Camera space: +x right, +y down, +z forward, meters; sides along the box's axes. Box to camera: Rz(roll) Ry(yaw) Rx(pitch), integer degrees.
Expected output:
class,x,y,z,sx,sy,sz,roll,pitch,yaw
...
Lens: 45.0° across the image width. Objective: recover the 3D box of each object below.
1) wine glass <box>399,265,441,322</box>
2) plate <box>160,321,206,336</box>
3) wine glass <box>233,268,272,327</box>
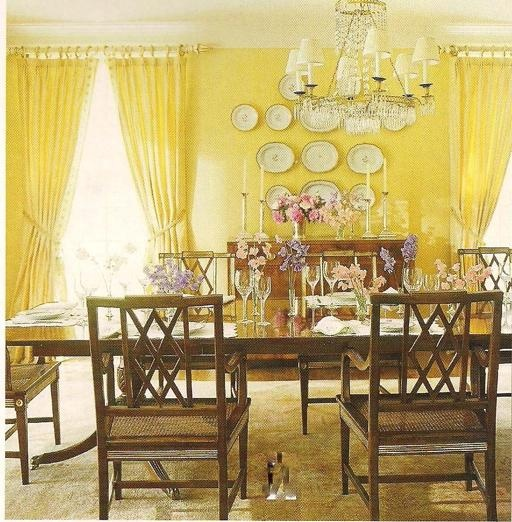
class,x,y,z,sx,sy,sz,roll,pitch,yaw
wine glass,0.797,0.166,2.980,0.203,0.254,0.193,1,1,22
plate,-0.290,0.280,2.694,0.129,0.055,0.227,-1,7,-1
wine glass,-0.007,0.162,3.003,0.197,0.329,0.226,0,-1,0
